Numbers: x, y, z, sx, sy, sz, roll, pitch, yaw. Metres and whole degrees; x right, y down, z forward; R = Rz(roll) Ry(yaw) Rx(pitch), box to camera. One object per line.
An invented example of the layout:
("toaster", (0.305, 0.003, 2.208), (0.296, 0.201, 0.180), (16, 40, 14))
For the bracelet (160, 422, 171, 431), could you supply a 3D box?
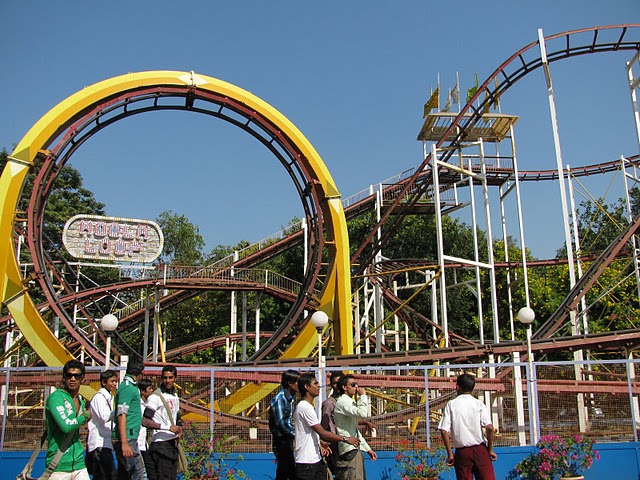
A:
("bracelet", (-2.376, 2.863, 10.459), (0.143, 0.094, 0.080), (2, -16, -11))
